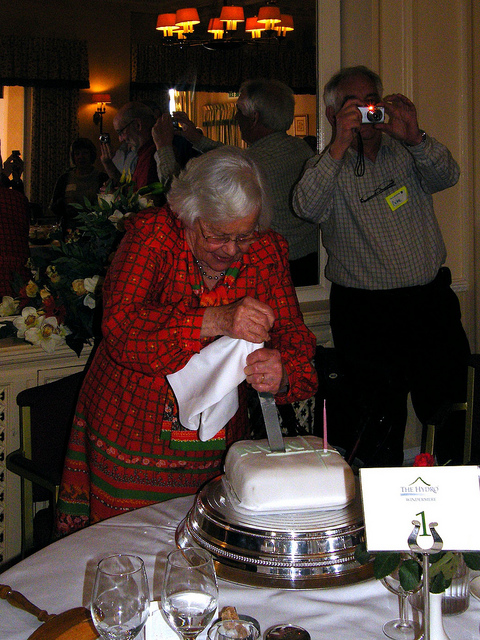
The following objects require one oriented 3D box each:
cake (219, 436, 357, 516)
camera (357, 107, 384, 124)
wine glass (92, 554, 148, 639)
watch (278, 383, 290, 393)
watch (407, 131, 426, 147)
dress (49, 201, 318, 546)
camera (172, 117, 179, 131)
[{"bbox_3d":[0.076,0.265,0.966,0.230,0.070,0.231,5,9,9],"label":"cake"},{"bbox_3d":[0.485,-0.744,2.037,0.106,0.052,0.032,0,15,-3],"label":"camera"},{"bbox_3d":[-0.131,0.315,0.613,0.060,0.095,0.069,-6,7,-13],"label":"wine glass"},{"bbox_3d":[0.099,0.148,1.212,0.019,0.019,0.034,-3,-10,-1],"label":"watch"},{"bbox_3d":[0.682,-0.699,2.152,0.066,0.047,0.042,-4,7,2],"label":"watch"},{"bbox_3d":[-0.179,0.149,1.286,0.706,0.816,0.397,-3,7,6],"label":"dress"},{"bbox_3d":[-0.278,-0.841,2.408,0.011,0.047,0.044,-6,-1,21],"label":"camera"}]
